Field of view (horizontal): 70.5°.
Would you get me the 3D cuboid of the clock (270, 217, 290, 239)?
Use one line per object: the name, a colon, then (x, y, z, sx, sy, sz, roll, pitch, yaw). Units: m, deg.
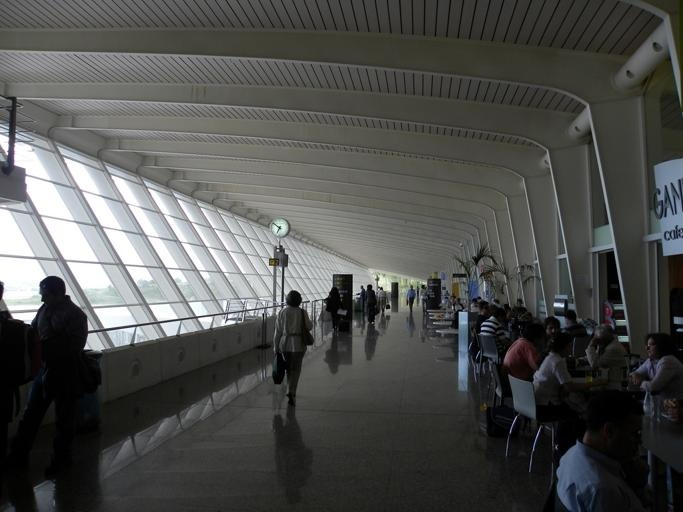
clock: (-2.206, -1.042, 17.483, 0.365, 0.669, 0.813, 1, -2, -44)

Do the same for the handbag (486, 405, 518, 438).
handbag: (2.182, 2.282, 6.694, 0.313, 0.439, 0.161, 4, 2, 10)

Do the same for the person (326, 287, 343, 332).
person: (-0.290, 2.095, 19.247, 0.531, 1.723, 1.184, 0, -1, 0)

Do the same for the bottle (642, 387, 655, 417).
bottle: (3.170, 1.519, 5.007, 0.098, 0.171, 0.367, -1, -1, 32)

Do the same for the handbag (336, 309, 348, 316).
handbag: (0.031, 2.173, 18.722, 0.293, 0.214, 0.222, 4, -10, -5)

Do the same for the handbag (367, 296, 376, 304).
handbag: (1.456, 2.027, 23.271, 0.421, 0.596, 1.176, 0, -1, 0)

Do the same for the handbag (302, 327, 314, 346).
handbag: (-0.556, 1.347, 8.284, 0.228, 0.345, 0.089, 0, 15, 22)

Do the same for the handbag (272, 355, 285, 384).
handbag: (-1.054, 1.914, 8.250, 0.206, 0.554, 0.298, 0, -1, -11)

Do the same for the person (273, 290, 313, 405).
person: (-0.844, 1.544, 8.465, 0.651, 1.917, 0.827, 0, -1, -7)

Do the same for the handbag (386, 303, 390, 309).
handbag: (3.325, 3.530, 34.396, 0.498, 0.365, 0.368, -2, -6, 6)
